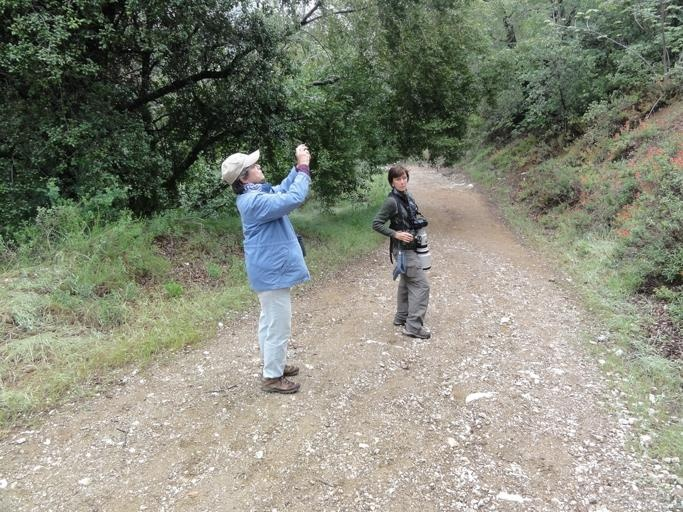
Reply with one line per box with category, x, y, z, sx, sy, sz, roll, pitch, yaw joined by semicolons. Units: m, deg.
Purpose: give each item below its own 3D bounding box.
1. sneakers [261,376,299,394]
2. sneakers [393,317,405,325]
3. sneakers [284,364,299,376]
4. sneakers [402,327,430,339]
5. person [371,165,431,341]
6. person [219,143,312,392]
sneakers;-0.799;1.702;7.554;0.469;0.266;0.200;0;13;2
sneakers;0.878;1.014;8.889;0.157;0.080;0.077;0;10;5
sneakers;-0.690;1.566;7.853;0.215;0.110;0.086;-6;19;-8
sneakers;1.105;1.145;8.521;0.365;0.183;0.154;-4;31;4
person;0.933;-0.050;8.448;0.734;2.525;0.638;-10;16;6
person;-0.822;0.209;7.394;1.086;3.114;0.569;-15;16;-12
